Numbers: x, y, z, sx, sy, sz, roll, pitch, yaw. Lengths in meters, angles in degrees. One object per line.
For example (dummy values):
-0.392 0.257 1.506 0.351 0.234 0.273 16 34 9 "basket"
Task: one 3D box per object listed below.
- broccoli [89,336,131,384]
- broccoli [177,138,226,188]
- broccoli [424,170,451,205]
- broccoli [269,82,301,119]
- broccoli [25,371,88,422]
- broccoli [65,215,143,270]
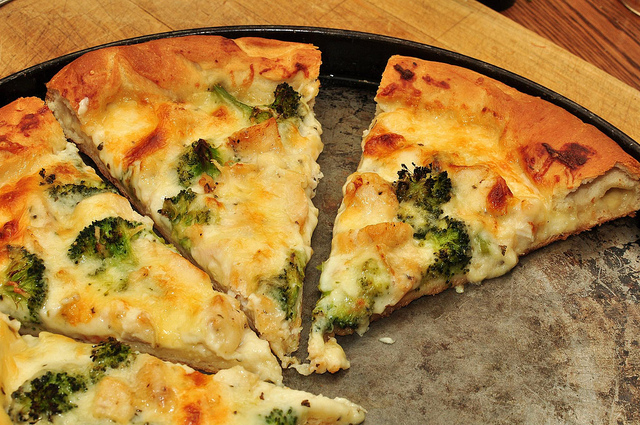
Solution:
-1.312 0.894 4.346 0.172 0.058 0.245 34 44 0 "broccoli"
-0.880 -0.356 5.042 0.276 0.086 0.372 12 91 -3 "broccoli"
0.847 -0.203 5.121 0.224 0.248 0.078 31 105 -2 "broccoli"
-0.262 -0.852 5.481 0.249 0.133 0.262 32 63 -34 "broccoli"
-1.580 1.068 4.193 0.278 0.069 0.277 -21 74 -22 "broccoli"
-1.418 0.199 4.678 0.352 0.096 0.365 37 63 8 "broccoli"
